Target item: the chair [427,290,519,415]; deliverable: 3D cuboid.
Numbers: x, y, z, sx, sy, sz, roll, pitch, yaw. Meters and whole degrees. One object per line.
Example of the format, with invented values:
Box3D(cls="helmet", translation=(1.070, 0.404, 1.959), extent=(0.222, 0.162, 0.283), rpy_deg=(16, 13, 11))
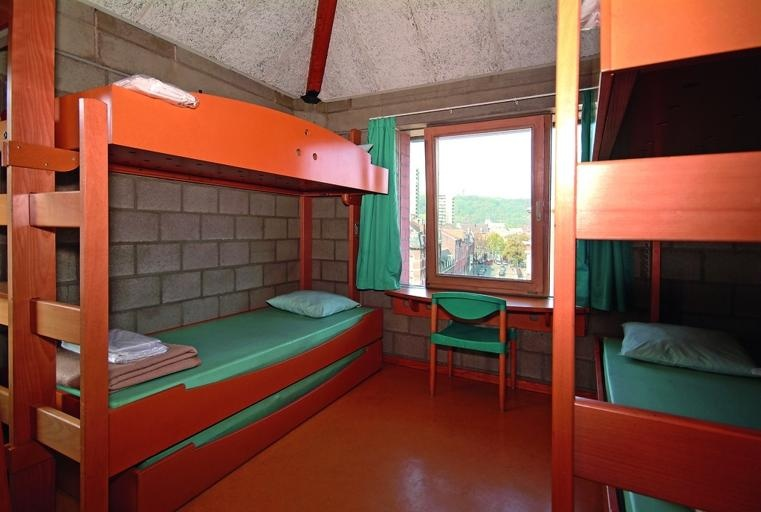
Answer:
Box3D(cls="chair", translation=(0.708, 0.643, 4.039), extent=(0.643, 0.719, 0.694), rpy_deg=(1, 2, -40))
